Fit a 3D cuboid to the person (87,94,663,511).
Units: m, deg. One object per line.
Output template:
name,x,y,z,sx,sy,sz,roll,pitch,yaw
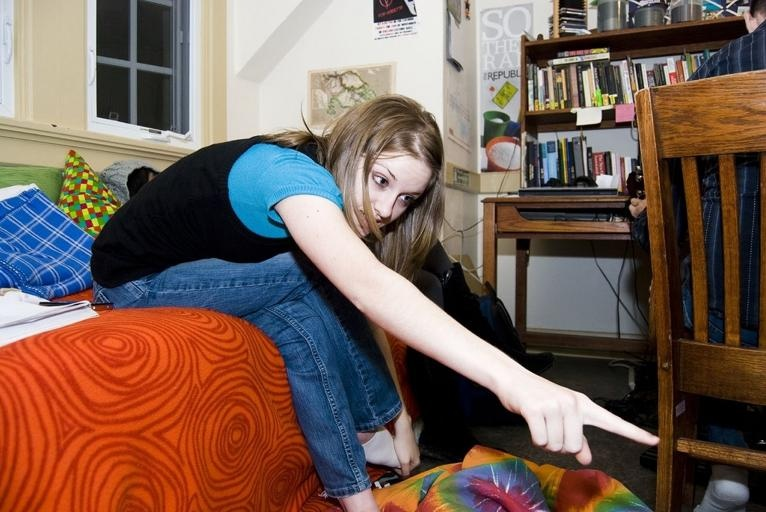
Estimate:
person,-0.004,0.115,1.887,1.532,1.129,0.819,27,17,0
